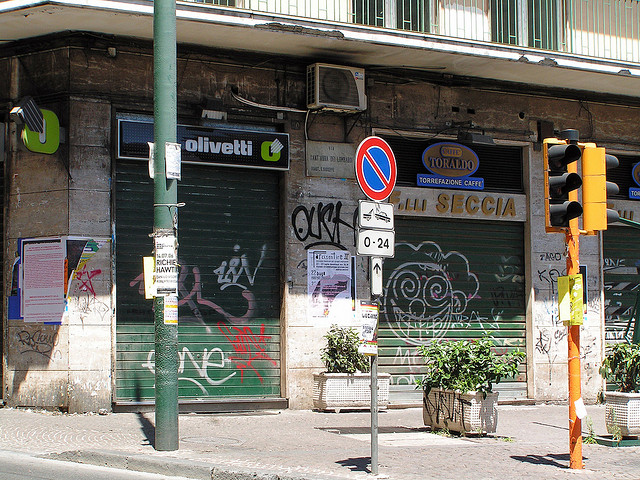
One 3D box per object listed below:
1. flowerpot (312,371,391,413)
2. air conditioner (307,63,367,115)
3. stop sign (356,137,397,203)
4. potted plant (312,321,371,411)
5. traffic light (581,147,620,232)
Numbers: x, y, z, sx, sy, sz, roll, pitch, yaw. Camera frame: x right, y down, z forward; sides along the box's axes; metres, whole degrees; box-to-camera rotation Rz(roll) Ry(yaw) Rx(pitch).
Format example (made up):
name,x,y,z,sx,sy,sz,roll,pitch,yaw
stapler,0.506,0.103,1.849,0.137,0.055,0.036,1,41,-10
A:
name,x,y,z,sx,sy,sz,roll,pitch,yaw
flowerpot,0.571,2.859,21.771,1.314,0.741,0.502,2,-7,-17
air conditioner,0.293,-2.942,22.502,1.206,0.822,0.486,1,-1,-33
stop sign,0.827,-1.038,17.392,0.288,1.005,0.714,-6,-9,40
potted plant,0.387,2.389,21.793,1.046,1.631,0.659,0,-7,0
traffic light,4.344,-0.776,18.088,0.668,1.282,0.468,0,-3,-14
